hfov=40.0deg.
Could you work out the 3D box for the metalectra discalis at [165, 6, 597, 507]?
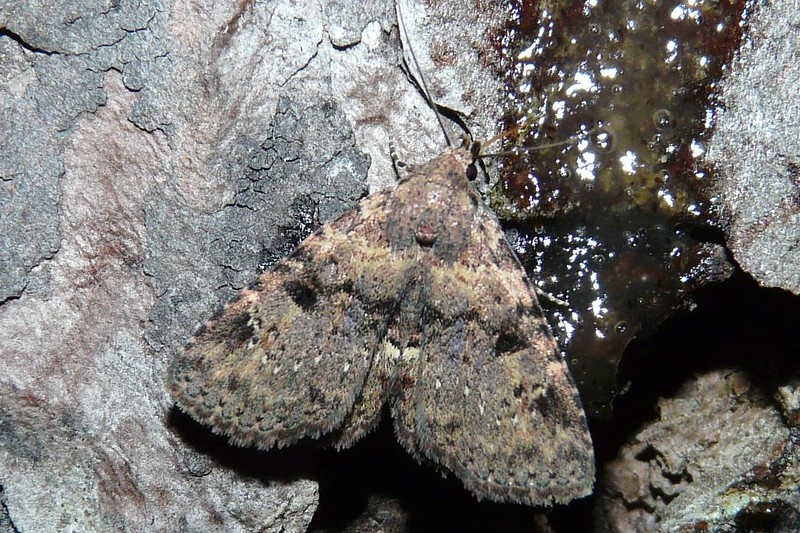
[{"bbox_3d":[0.060,0.527,8.650,3.072,0.536,2.233,10,79,6],"label":"metalectra discalis"}]
